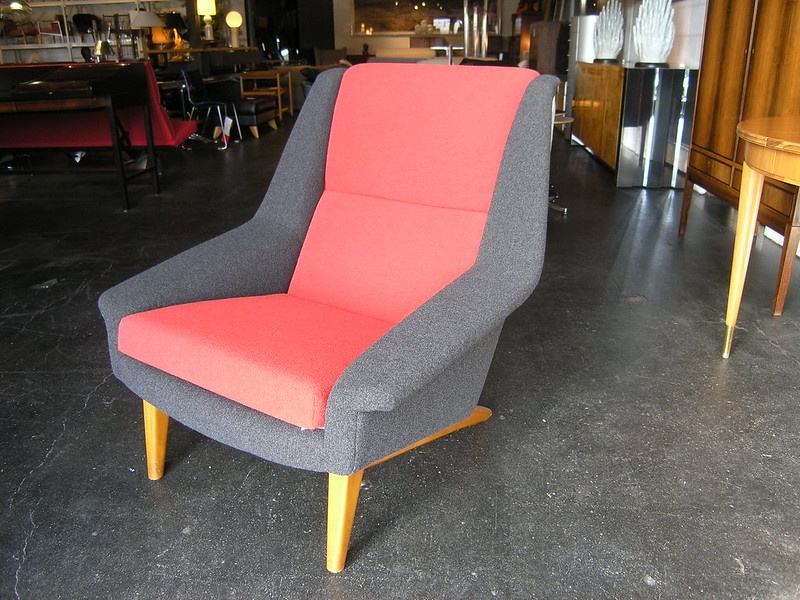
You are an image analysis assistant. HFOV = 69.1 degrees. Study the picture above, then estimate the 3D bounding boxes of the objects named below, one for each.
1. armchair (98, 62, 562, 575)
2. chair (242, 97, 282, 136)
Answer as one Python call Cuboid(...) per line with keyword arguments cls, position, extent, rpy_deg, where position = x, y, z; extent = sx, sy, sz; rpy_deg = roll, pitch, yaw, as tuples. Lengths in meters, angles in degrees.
Cuboid(cls="armchair", position=(-0.198, -0.014, 2.153), extent=(1.421, 1.591, 1.484), rpy_deg=(20, 32, 35))
Cuboid(cls="chair", position=(-2.026, -2.622, 8.345), extent=(0.439, 0.398, 0.788), rpy_deg=(4, 37, 2))
